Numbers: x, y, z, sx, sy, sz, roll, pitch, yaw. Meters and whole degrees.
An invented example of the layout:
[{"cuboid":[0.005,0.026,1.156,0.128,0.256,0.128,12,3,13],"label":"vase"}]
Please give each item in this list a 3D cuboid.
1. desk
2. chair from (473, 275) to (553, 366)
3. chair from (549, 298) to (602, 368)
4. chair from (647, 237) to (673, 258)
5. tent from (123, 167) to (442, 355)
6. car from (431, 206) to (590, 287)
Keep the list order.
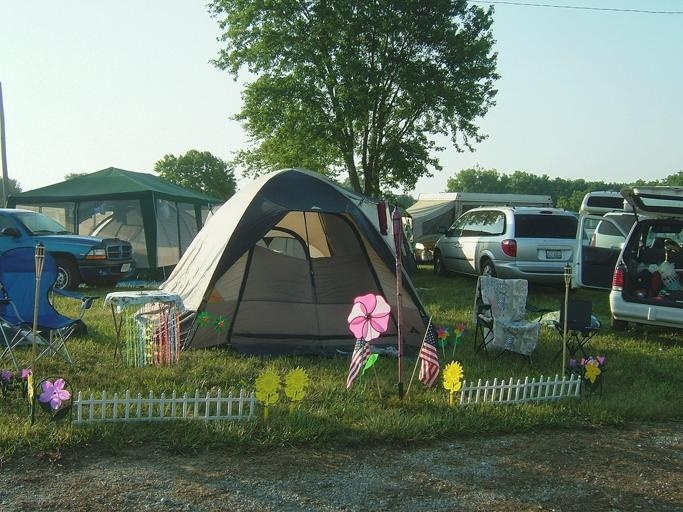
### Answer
[{"cuboid":[-2.577,1.008,10.421,1.057,1.284,1.047,0,1,-11],"label":"desk"},{"cuboid":[2.334,0.816,10.870,0.873,1.086,0.892,6,-7,-12],"label":"chair"},{"cuboid":[3.217,1.024,10.662,0.734,0.890,0.739,2,3,-28],"label":"chair"},{"cuboid":[5.159,-0.153,12.541,0.304,0.328,0.215,8,-15,28],"label":"chair"},{"cuboid":[-0.711,0.193,11.267,2.872,1.641,2.945,0,7,-5],"label":"tent"},{"cuboid":[3.453,-0.256,16.632,1.436,1.004,2.723,0,7,-18],"label":"car"}]
